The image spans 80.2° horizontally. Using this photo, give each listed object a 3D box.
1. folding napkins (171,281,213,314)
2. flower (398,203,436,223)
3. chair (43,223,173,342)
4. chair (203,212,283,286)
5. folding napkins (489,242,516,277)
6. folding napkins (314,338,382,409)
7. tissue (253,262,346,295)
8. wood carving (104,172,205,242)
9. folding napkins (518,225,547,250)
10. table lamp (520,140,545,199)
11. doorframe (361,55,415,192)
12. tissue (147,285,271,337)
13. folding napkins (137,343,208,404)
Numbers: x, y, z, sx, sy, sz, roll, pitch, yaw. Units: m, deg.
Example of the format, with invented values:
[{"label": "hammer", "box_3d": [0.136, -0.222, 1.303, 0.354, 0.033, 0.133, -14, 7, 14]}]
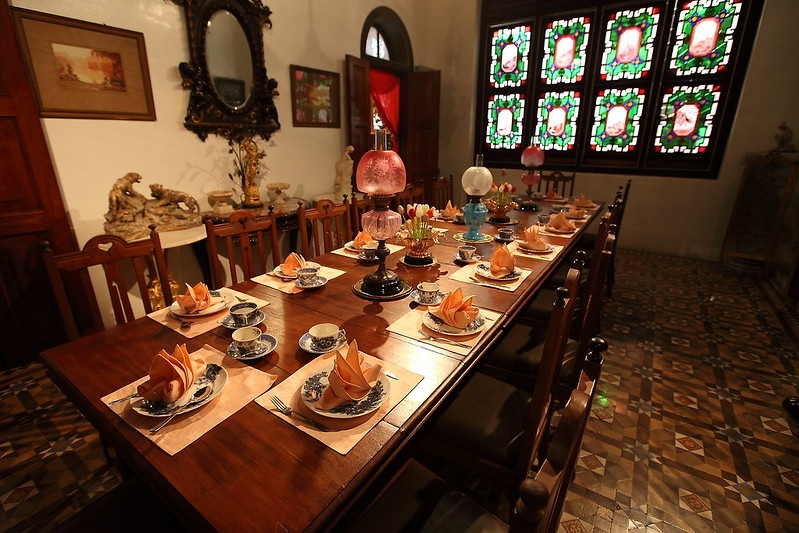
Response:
[{"label": "folding napkins", "box_3d": [-1.184, 0.190, 2.700, 0.180, 0.106, 0.151, 32, 35, 30]}, {"label": "flower", "box_3d": [0.158, -0.410, 3.576, 0.232, 0.134, 0.302, 7, 13, 12]}, {"label": "chair", "box_3d": [-1.949, 0.089, 3.126, 0.475, 0.890, 0.486, -24, 44, -38]}, {"label": "chair", "box_3d": [-1.223, -0.146, 3.642, 0.322, 0.623, 0.332, 26, 39, 26]}, {"label": "folding napkins", "box_3d": [0.682, -0.043, 3.080, 0.181, 0.199, 0.174, 0, 1, 20]}, {"label": "folding napkins", "box_3d": [-0.231, 0.530, 2.227, 0.229, 0.141, 0.337, 18, 29, 28]}, {"label": "tissue", "box_3d": [-0.675, 0.090, 3.028, 0.293, 0.016, 0.278, 17, 26, 33]}, {"label": "wood carving", "box_3d": [-1.990, -0.505, 3.898, 0.860, 0.544, 0.446, -11, 34, -32]}, {"label": "folding napkins", "box_3d": [0.959, -0.226, 3.446, 0.179, 0.103, 0.229, -10, 10, 0]}, {"label": "table lamp", "box_3d": [1.327, -0.936, 4.759, 0.243, 0.579, 0.249, 2, 5, -4]}, {"label": "doorframe", "box_3d": [-0.107, -0.806, 2.853, 0.292, 0.747, 0.267, 2, 11, 5]}, {"label": "tissue", "box_3d": [-1.146, 0.283, 2.651, 0.314, 0.019, 0.364, 14, 26, 29]}, {"label": "folding napkins", "box_3d": [-1.075, 0.522, 2.292, 0.200, 0.143, 0.280, 7, 28, 22]}]
